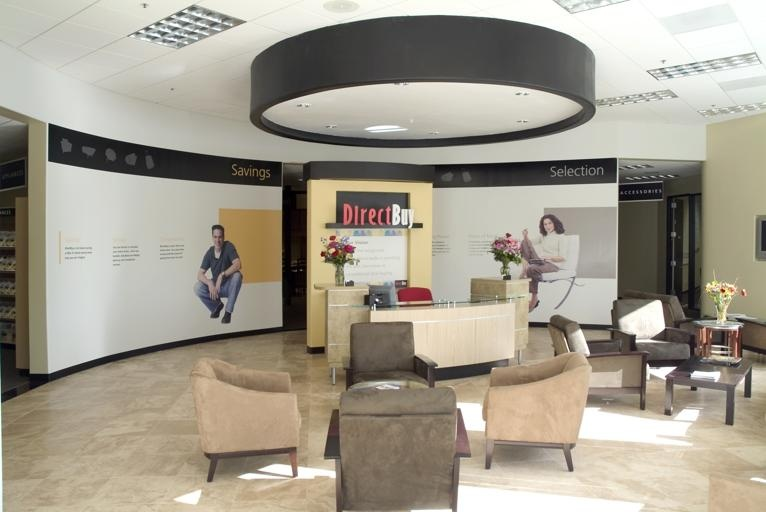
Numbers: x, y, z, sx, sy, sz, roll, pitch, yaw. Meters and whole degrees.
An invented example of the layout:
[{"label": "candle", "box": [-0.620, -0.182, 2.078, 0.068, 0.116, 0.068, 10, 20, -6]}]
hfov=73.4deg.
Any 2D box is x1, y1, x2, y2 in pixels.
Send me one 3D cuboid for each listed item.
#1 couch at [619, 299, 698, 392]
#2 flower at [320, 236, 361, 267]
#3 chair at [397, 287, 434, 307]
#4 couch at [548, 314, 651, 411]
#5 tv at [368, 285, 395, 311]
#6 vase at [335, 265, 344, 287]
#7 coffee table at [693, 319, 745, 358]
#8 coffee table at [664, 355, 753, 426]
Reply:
[{"label": "couch", "box": [4.958, 1.608, 9.610, 1.550, 1.541, 1.511, 2, -4, -45]}, {"label": "flower", "box": [-0.904, -0.093, 10.486, 0.691, 0.658, 0.682, 0, 0, -8]}, {"label": "chair", "box": [0.642, 0.760, 9.977, 0.403, 0.514, 0.349, 0, -2, -12]}, {"label": "couch", "box": [3.535, 1.663, 8.435, 1.203, 1.217, 1.473, 0, 1, 14]}, {"label": "tv", "box": [-0.009, 0.704, 8.914, 0.468, 0.400, 0.327, 1, -4, -11]}, {"label": "vase", "box": [-0.859, 0.378, 10.229, 0.194, 0.375, 0.408, -1, 9, -4]}, {"label": "coffee table", "box": [6.223, 1.526, 9.584, 0.760, 0.784, 0.791, 2, 7, 20]}, {"label": "coffee table", "box": [5.172, 2.046, 8.080, 1.589, 0.569, 0.954, -5, 4, -44]}]
